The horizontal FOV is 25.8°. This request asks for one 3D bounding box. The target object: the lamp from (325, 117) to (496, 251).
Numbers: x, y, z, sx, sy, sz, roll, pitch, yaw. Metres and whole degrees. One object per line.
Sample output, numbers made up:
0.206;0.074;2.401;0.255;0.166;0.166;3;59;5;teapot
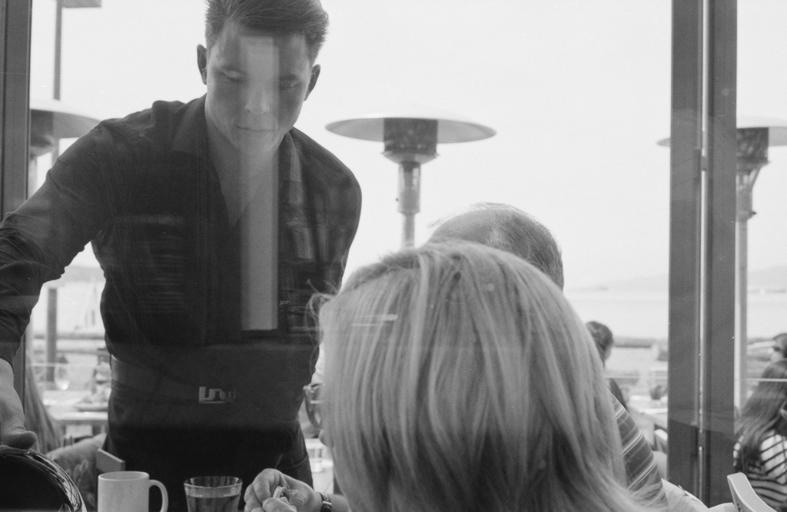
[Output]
0.016;-0.181;4.665;0.372;0.402;0.374;23;-28;-39;lamp
